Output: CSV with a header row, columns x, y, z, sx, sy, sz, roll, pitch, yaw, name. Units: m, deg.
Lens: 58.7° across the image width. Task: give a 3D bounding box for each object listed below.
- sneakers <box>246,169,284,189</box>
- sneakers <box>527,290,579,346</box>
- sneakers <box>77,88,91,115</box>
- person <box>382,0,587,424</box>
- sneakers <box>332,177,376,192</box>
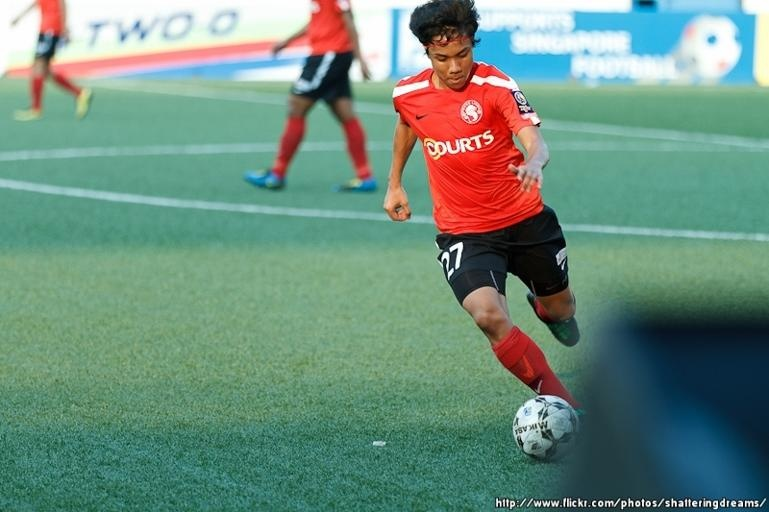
x,y,z,sx,sy,sz,roll,pitch,yaw,name
-1.184,-0.736,6.566,0.421,0.173,0.167,16,11,34,sneakers
1.059,0.396,4.317,0.136,0.380,0.153,-39,-15,3,sneakers
-4.146,-2.101,9.388,0.190,0.381,0.173,13,8,-1,sneakers
0.524,-0.295,3.755,1.103,2.122,0.974,2,15,12,person
-0.268,-0.735,7.102,0.308,0.140,0.174,-5,12,-7,sneakers
